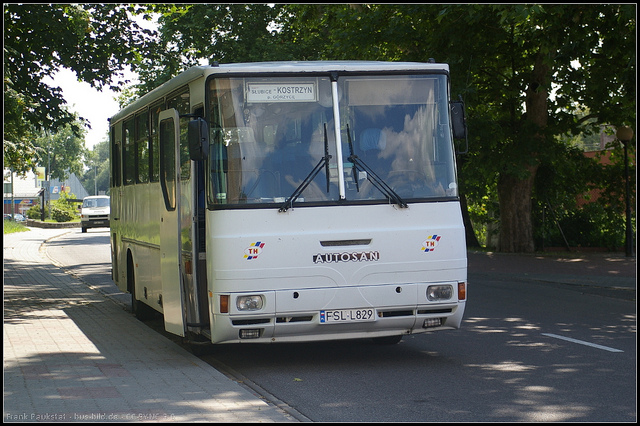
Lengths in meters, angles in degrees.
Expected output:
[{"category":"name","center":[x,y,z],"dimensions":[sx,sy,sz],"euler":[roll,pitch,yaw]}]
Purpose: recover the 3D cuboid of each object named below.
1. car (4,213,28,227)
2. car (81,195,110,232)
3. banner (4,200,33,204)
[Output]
[{"category":"car","center":[-36.697,0.786,70.324],"dimensions":[2.933,0.919,1.863],"euler":[4,3,26]},{"category":"car","center":[-18.322,0.041,47.553],"dimensions":[2.582,2.528,5.046],"euler":[-1,-6,-14]},{"category":"banner","center":[-49.076,-1.884,94.840],"dimensions":[2.317,0.630,6.798],"euler":[0,1,1]}]
